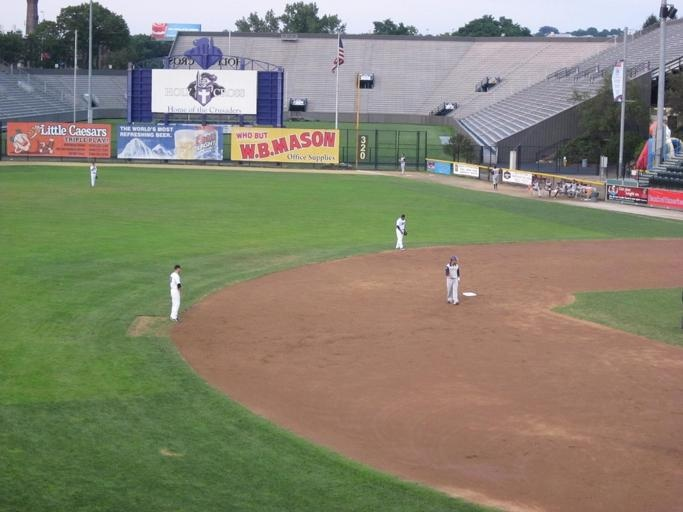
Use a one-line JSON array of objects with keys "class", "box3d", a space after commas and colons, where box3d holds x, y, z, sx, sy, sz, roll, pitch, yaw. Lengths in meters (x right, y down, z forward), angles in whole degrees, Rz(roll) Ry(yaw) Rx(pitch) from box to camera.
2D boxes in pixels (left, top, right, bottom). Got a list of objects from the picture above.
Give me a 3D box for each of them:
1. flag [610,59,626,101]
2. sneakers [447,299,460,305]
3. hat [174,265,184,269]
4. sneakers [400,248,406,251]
[{"class": "flag", "box3d": [19.536, -12.326, 73.809, 0.789, 2.720, 1.621, 4, 13, 8]}, {"class": "sneakers", "box3d": [4.674, 1.907, 44.053, 0.197, 0.234, 0.570, -1, 1, -13]}, {"class": "hat", "box3d": [-6.936, 0.454, 44.360, 0.160, 0.181, 0.260, 4, 0, 28]}, {"class": "sneakers", "box3d": [3.054, -0.340, 52.959, 0.128, 0.148, 0.363, -2, -1, -10]}]
